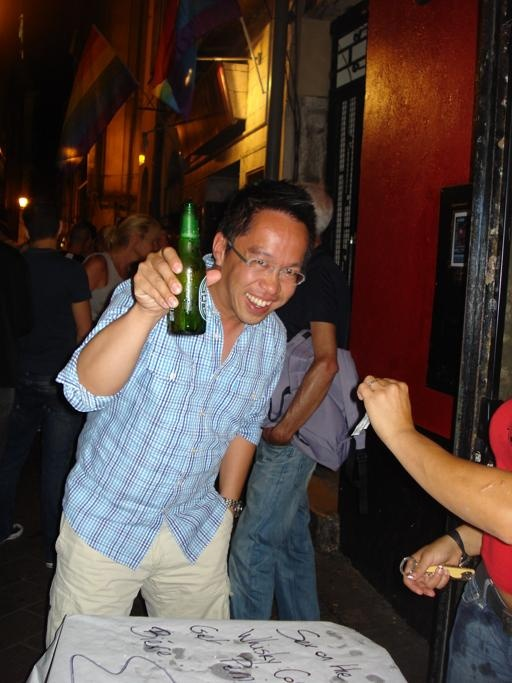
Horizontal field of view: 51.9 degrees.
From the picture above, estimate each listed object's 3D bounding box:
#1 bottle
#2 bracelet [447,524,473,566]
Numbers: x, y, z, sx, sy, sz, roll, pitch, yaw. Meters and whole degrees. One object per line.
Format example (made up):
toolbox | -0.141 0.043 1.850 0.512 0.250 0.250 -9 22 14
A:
bottle | -0.168 -0.183 1.348 0.098 0.337 0.298 6 -1 -6
bracelet | 0.607 0.621 1.601 0.042 0.072 0.098 -14 51 8
